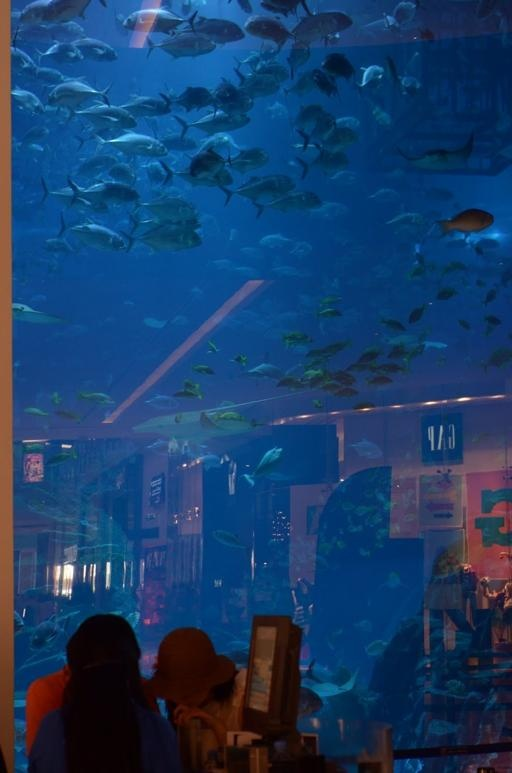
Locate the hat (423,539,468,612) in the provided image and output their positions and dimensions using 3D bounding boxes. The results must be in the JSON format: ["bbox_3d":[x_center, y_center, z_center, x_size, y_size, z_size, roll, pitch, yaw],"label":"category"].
[{"bbox_3d":[0.867,0.880,3.161,0.235,0.300,0.232,13,-22,-17],"label":"hat"}]

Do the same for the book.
[{"bbox_3d":[0.039,0.895,2.182,0.185,0.341,0.238,-1,-8,12],"label":"book"}]

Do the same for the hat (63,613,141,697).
[{"bbox_3d":[-0.446,0.782,2.060,0.207,0.227,0.233,0,-15,-10],"label":"hat"}]
